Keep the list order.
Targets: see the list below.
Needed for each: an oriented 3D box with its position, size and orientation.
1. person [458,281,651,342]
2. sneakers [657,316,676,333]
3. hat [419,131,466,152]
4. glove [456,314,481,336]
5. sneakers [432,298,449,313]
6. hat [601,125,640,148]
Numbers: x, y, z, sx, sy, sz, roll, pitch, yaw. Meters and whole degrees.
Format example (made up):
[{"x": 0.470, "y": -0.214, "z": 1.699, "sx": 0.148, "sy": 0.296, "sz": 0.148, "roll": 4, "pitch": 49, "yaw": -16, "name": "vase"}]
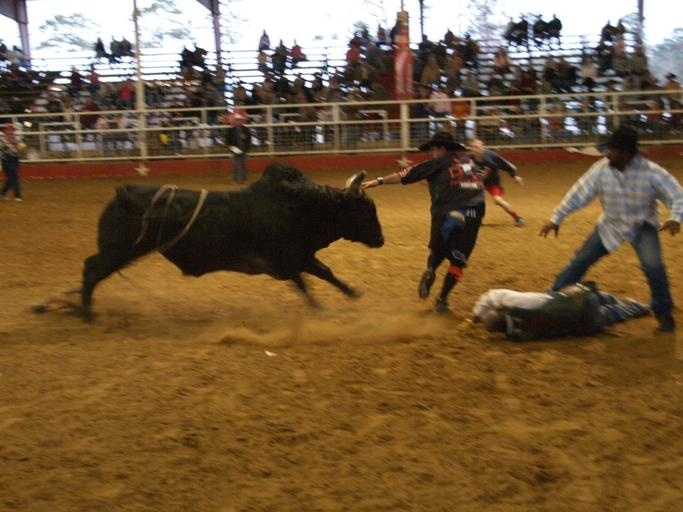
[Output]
[{"x": 1.932, "y": 0.552, "z": 5.554, "sx": 2.147, "sy": 0.528, "sz": 0.409, "roll": 5, "pitch": -27, "yaw": -26, "name": "person"}, {"x": 2.822, "y": 0.590, "z": 5.464, "sx": 0.161, "sy": 0.148, "sz": 0.057, "roll": 5, "pitch": 9, "yaw": 25, "name": "sneakers"}, {"x": 0.986, "y": -1.102, "z": 6.137, "sx": 0.418, "sy": 0.105, "sz": 0.275, "roll": 1, "pitch": -2, "yaw": -5, "name": "hat"}, {"x": 1.130, "y": 0.617, "z": 5.571, "sx": 0.118, "sy": 0.102, "sz": 0.228, "roll": 6, "pitch": 30, "yaw": 42, "name": "glove"}, {"x": 0.960, "y": 0.479, "z": 6.081, "sx": 0.170, "sy": 0.154, "sz": 0.116, "roll": 7, "pitch": 21, "yaw": 28, "name": "sneakers"}, {"x": 2.340, "y": -0.990, "z": 5.232, "sx": 0.295, "sy": 0.176, "sz": 0.173, "roll": -1, "pitch": 12, "yaw": 0, "name": "hat"}]
